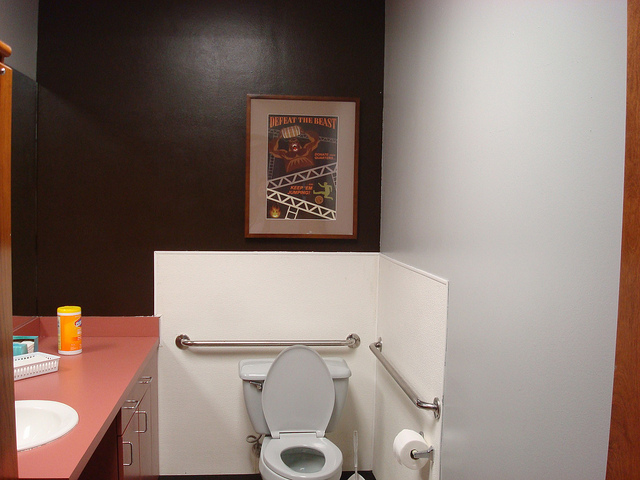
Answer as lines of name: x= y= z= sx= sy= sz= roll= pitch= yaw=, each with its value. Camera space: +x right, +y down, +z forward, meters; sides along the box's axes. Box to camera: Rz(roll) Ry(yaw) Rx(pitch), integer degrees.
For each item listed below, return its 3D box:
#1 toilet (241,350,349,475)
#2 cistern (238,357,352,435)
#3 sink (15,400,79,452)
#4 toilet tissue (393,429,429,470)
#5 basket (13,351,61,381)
toilet: x=-0.122 y=0.891 z=2.782 sx=0.586 sy=0.568 sz=0.584 roll=2 pitch=10 yaw=-9
cistern: x=-0.157 y=0.867 z=3.094 sx=0.638 sy=0.494 sz=0.488 roll=3 pitch=16 yaw=0
sink: x=-1.072 y=0.714 z=2.086 sx=0.213 sy=0.098 sz=0.350 roll=-2 pitch=12 yaw=-32
toilet tissue: x=0.378 y=0.892 z=2.323 sx=0.137 sy=0.148 sz=0.171 roll=-16 pitch=-7 yaw=-1
basket: x=-1.331 y=0.583 z=2.495 sx=0.184 sy=0.085 sz=0.205 roll=-2 pitch=12 yaw=-31
